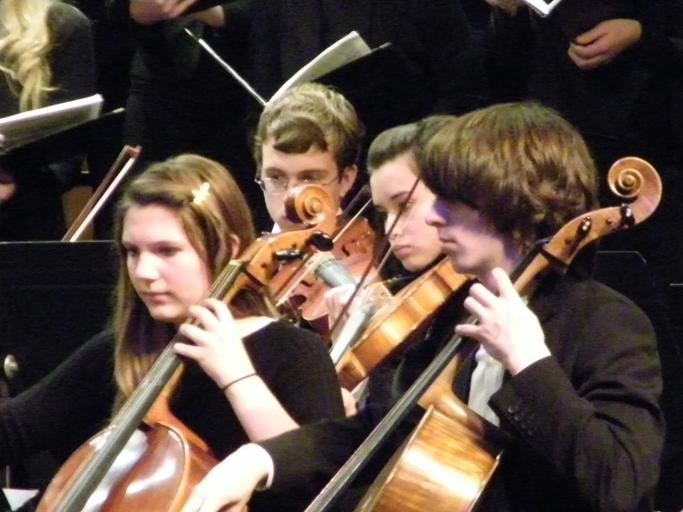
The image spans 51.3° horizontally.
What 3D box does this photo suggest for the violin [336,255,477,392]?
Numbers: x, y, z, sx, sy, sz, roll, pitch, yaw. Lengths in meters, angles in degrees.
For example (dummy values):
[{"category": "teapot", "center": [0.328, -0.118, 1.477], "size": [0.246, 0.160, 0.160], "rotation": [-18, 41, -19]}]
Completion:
[{"category": "violin", "center": [0.092, 0.098, 1.128], "size": [0.296, 0.059, 0.116], "rotation": [-44, -7, -1]}]
